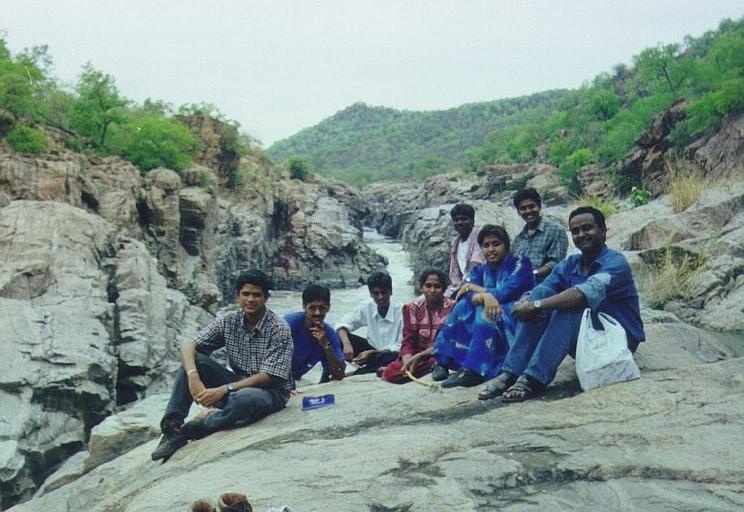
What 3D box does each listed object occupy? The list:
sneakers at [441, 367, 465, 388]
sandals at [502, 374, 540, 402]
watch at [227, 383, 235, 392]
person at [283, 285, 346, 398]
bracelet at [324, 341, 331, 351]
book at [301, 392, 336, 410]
[{"bbox_3d":[1.212,1.869,12.866,0.444,0.178,0.162,-41,4,-33],"label":"sneakers"},{"bbox_3d":[2.165,1.920,12.221,0.638,0.262,0.270,-1,-4,-15],"label":"sandals"},{"bbox_3d":[-2.044,1.901,12.336,0.105,0.090,0.103,1,-48,-4],"label":"watch"},{"bbox_3d":[-0.895,1.267,13.443,1.214,1.544,0.984,11,10,5],"label":"person"},{"bbox_3d":[-0.688,1.389,13.215,0.092,0.136,0.130,0,-13,-26],"label":"bracelet"},{"bbox_3d":[-0.812,2.156,12.652,0.585,0.185,0.226,-4,10,-14],"label":"book"}]
